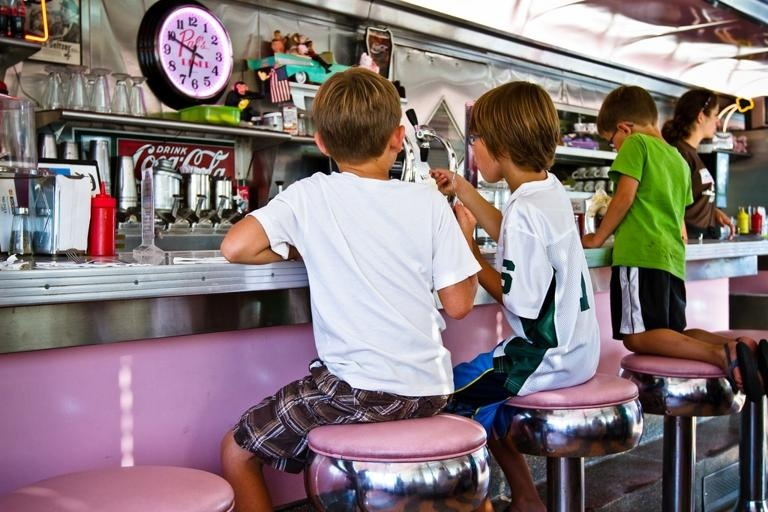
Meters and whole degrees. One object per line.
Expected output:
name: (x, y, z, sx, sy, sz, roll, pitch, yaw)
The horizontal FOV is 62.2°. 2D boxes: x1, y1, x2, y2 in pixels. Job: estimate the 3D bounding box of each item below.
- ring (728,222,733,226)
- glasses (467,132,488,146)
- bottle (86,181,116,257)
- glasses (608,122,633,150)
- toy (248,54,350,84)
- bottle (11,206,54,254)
ring: (2.051, -0.196, 3.788, 0.013, 0.020, 0.021, -14, -17, 10)
glasses: (0.328, -0.428, 2.262, 0.057, 0.017, 0.060, 0, -3, 41)
bottle: (-0.984, -0.114, 2.219, 0.099, 0.228, 0.293, -5, 3, -23)
glasses: (1.083, -0.558, 2.926, 0.087, 0.105, 0.045, -17, 13, -30)
toy: (-0.552, -1.264, 4.345, 0.786, 0.190, 0.439, -9, 14, -37)
bottle: (-1.156, -0.086, 2.105, 0.160, 0.155, 0.051, -3, 2, 17)
